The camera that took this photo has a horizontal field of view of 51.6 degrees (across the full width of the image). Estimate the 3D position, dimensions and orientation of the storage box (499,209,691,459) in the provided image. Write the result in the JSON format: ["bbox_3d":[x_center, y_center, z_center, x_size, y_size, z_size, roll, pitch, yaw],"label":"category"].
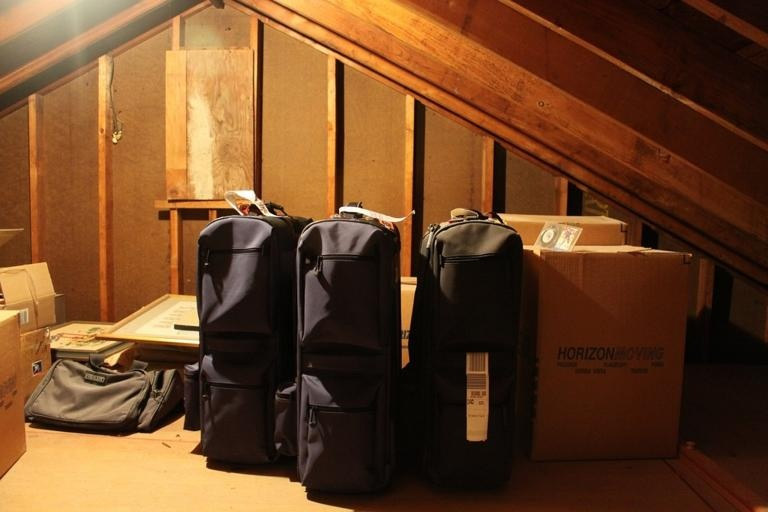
[{"bbox_3d":[1.140,0.357,4.873,0.989,1.473,1.445,1,2,5],"label":"storage box"}]

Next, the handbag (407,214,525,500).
[{"bbox_3d":[0.413,0.475,4.127,0.563,1.389,0.298,4,1,1],"label":"handbag"}]

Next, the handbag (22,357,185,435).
[{"bbox_3d":[-1.536,0.790,4.444,0.567,0.247,0.434,3,16,5],"label":"handbag"}]
